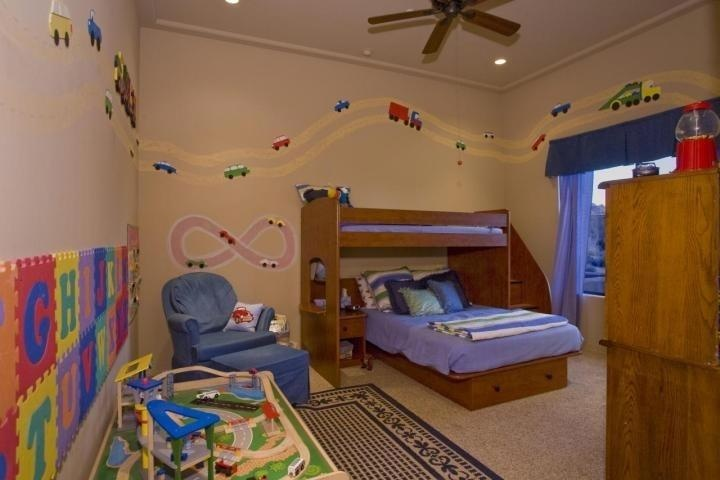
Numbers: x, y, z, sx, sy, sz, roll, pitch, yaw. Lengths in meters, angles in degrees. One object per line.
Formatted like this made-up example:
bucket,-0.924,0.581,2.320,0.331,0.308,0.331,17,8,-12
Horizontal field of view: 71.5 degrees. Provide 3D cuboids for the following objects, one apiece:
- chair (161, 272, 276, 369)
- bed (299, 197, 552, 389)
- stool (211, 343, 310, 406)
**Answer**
chair,-1.343,0.718,4.719,0.831,0.891,0.980,2,-11,-40
bed,0.376,0.047,5.854,2.815,2.105,1.782,0,-2,-27
stool,-0.787,1.052,4.158,0.550,0.347,0.546,-2,0,-37
